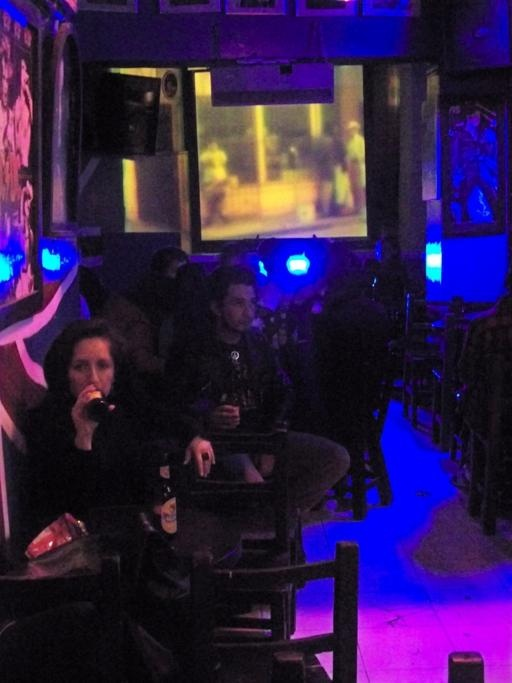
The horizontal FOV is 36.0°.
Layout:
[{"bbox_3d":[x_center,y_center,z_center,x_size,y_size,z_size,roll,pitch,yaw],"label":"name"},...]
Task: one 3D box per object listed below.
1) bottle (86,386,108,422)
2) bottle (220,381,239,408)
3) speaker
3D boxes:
[{"bbox_3d":[-0.407,0.155,2.026,0.065,0.072,0.109,0,17,-19],"label":"bottle"},{"bbox_3d":[-0.103,0.193,2.921,0.046,0.099,0.051,-3,17,1],"label":"bottle"},{"bbox_3d":[-0.668,-1.152,3.978,0.207,0.416,0.395,16,14,35],"label":"speaker"}]
